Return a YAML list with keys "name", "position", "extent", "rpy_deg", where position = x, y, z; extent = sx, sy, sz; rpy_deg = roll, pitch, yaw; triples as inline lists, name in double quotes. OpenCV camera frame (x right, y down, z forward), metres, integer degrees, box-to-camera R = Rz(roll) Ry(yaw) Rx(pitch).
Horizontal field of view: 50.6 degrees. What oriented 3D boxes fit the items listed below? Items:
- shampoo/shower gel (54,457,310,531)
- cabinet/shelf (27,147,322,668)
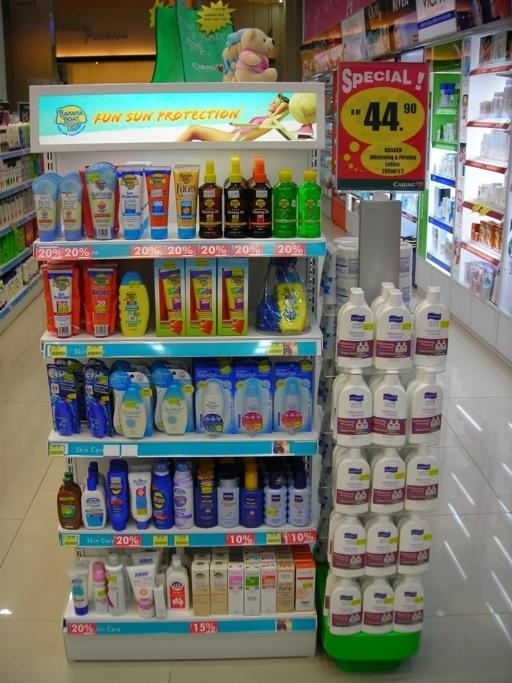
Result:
- name: "shampoo/shower gel"
  position: [-0.265, 0.586, 2.055]
  extent: [0.870, 0.297, 0.282]
  rpy_deg: [0, 22, -1]
- name: "cabinet/shelf"
  position: [-0.260, 0.226, 2.066]
  extent: [1.051, 1.903, 0.629]
  rpy_deg: [-1, 10, -9]
